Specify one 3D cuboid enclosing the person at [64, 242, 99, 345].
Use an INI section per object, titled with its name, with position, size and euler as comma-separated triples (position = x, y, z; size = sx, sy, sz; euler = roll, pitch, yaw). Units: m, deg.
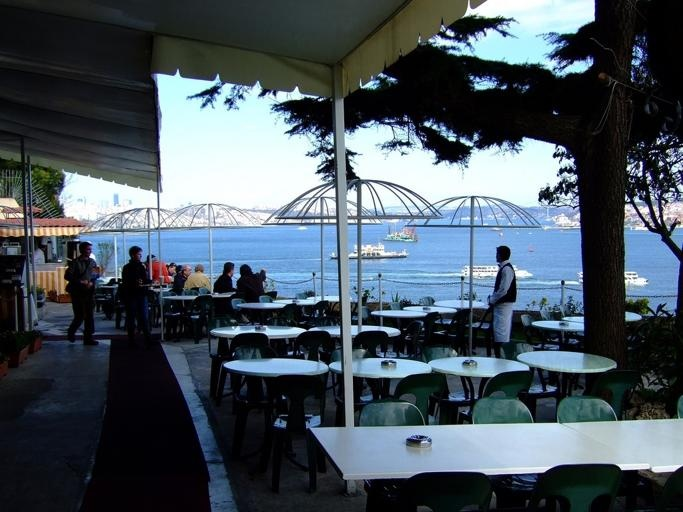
[person]
position = -4.974, 0.706, 12.099
size = 0.531, 2.020, 0.968
euler = -1, 5, -21
